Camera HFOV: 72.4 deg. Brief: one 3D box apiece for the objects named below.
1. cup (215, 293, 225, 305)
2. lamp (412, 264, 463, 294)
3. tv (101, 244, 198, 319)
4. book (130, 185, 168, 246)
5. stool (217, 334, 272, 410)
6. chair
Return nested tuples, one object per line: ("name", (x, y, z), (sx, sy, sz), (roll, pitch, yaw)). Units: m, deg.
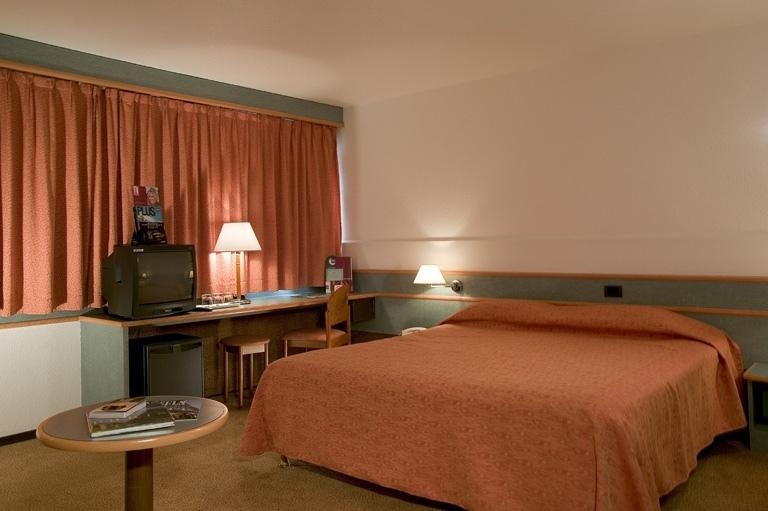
("cup", (-1.579, 0.417, 4.973), (0.090, 0.098, 0.081), (0, 1, 7))
("lamp", (0.530, 0.234, 5.281), (0.466, 0.188, 0.263), (6, -7, -24))
("tv", (-1.924, 0.192, 4.504), (0.701, 0.598, 0.703), (-1, -1, 34))
("book", (-2.062, -0.338, 4.499), (0.259, 0.495, 0.352), (-8, 12, -23))
("stool", (-1.318, 1.081, 4.960), (0.503, 0.504, 0.453), (-1, -9, -14))
("chair", (-0.681, 0.743, 5.222), (0.693, 0.814, 0.662), (-3, -2, 36))
